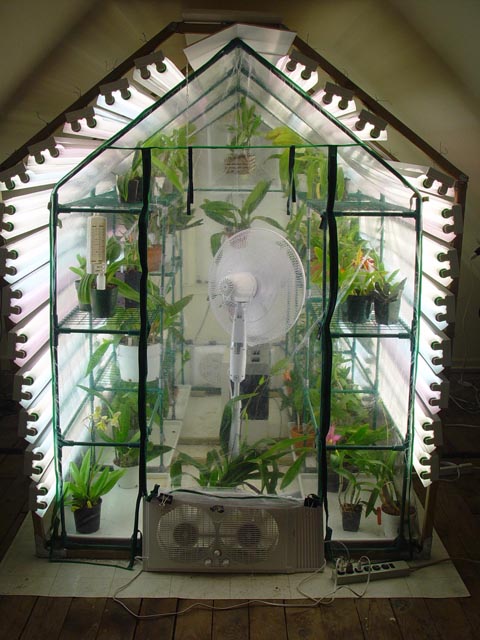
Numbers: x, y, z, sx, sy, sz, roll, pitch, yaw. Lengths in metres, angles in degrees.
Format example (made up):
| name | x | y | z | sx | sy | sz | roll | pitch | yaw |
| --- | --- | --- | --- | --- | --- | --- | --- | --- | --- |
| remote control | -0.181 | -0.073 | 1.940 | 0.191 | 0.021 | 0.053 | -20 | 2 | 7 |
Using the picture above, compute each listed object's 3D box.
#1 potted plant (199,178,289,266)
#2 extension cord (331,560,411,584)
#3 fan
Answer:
| name | x | y | z | sx | sy | sz | roll | pitch | yaw |
| --- | --- | --- | --- | --- | --- | --- | --- | --- | --- |
| potted plant | -0.018 | -0.361 | 1.814 | 0.210 | 0.289 | 0.220 | 1 | 17 | 4 |
| extension cord | 0.476 | 0.900 | 1.853 | 0.305 | 0.044 | 0.098 | -2 | 12 | -13 |
| fan | -0.007 | 0.135 | 1.723 | 0.310 | 0.885 | 0.340 | 1 | 5 | -39 |
